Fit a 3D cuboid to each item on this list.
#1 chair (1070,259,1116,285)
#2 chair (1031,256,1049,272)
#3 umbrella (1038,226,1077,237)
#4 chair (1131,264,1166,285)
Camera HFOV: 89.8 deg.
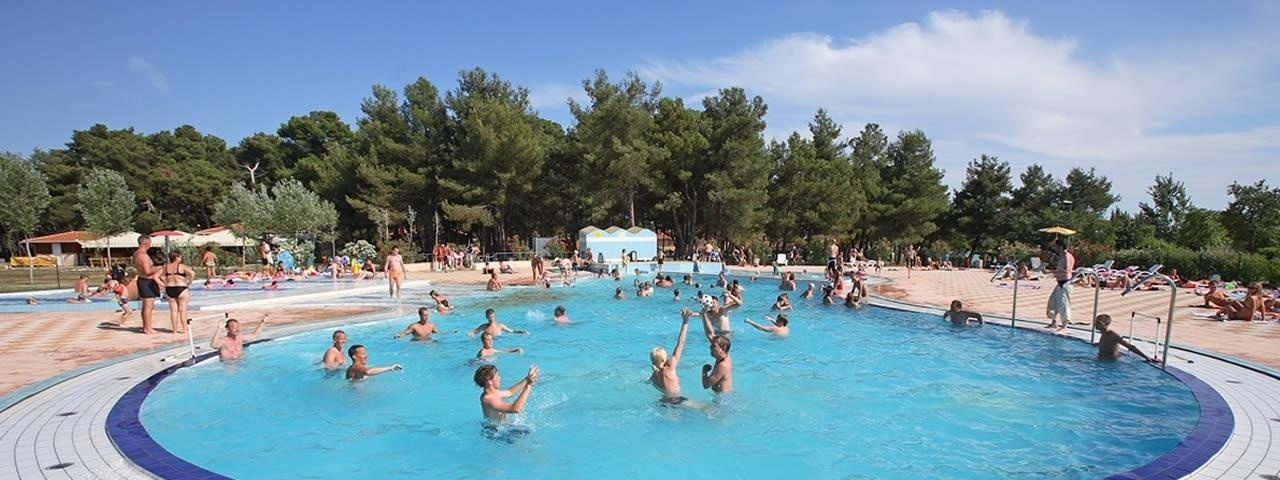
[{"bbox_3d":[45.252,3.144,64.359,3.064,0.989,2.061,-16,8,13],"label":"chair"},{"bbox_3d":[46.716,2.788,75.923,1.923,1.798,2.089,-2,2,-24],"label":"chair"},{"bbox_3d":[53.535,-1.207,82.602,3.273,0.901,2.902,6,-3,-16],"label":"umbrella"},{"bbox_3d":[48.486,3.212,61.501,3.658,0.538,0.798,-24,4,-9],"label":"chair"}]
